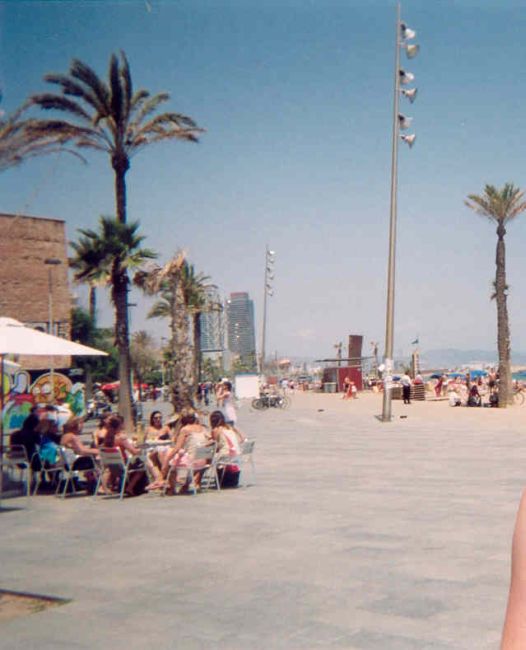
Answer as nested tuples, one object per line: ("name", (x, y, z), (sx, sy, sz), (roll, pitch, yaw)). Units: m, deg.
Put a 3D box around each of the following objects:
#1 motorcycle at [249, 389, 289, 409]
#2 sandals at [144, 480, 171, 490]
("motorcycle", (0.264, 2.698, 38.541), (1.197, 0.771, 0.619), (-3, 8, 4))
("sandals", (-1.316, 2.041, 13.569), (0.288, 0.154, 0.624), (0, -3, -7))
